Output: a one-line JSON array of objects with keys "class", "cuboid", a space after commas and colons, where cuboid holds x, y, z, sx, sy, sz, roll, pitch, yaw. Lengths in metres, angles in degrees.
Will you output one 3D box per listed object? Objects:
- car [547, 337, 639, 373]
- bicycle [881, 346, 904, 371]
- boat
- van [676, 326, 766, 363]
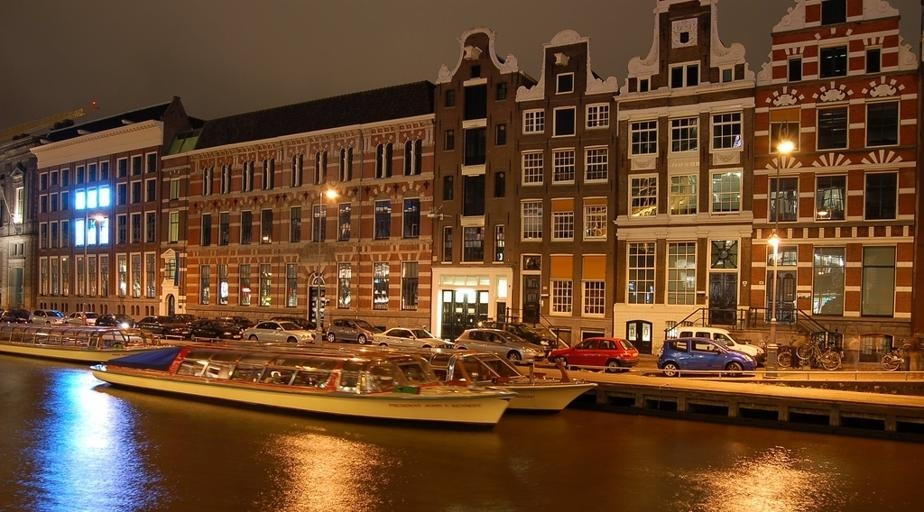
[{"class": "car", "cuboid": [9.989, 7.223, 63.229, 6.431, 2.196, 2.419, -1, -2, 31]}, {"class": "bicycle", "cuboid": [31.090, 7.349, 62.599, 1.334, 1.505, 3.308, -2, -7, 29]}, {"class": "boat", "cuboid": [-10.147, 8.288, 56.935, 26.998, 4.674, 1.815, -1, -7, 17]}, {"class": "van", "cuboid": [19.126, 6.493, 64.669, 6.273, 2.573, 3.320, 2, 1, 29]}]
